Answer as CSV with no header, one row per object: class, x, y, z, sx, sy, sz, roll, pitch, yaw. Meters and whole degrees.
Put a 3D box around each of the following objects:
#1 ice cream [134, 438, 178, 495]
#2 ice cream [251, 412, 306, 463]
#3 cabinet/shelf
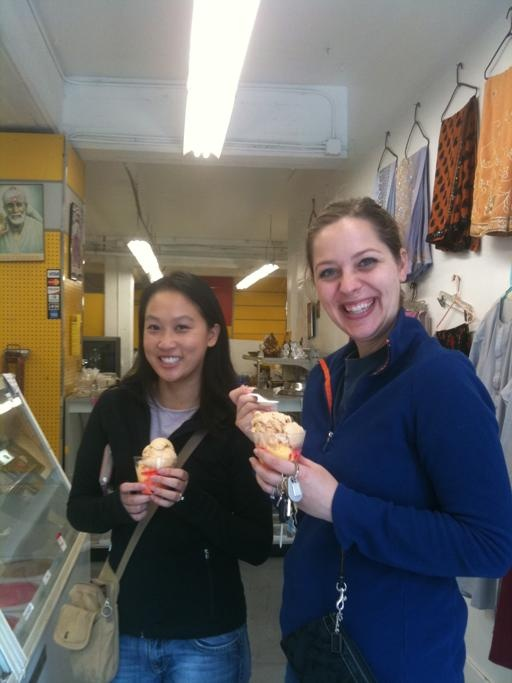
ice cream,-0.268,0.339,1.384,0.094,0.141,0.127,1,2,10
ice cream,0.063,0.228,1.253,0.112,0.122,0.091,4,5,-7
cabinet/shelf,0.351,0.443,7.114,0.720,0.802,2.305,2,2,-1
